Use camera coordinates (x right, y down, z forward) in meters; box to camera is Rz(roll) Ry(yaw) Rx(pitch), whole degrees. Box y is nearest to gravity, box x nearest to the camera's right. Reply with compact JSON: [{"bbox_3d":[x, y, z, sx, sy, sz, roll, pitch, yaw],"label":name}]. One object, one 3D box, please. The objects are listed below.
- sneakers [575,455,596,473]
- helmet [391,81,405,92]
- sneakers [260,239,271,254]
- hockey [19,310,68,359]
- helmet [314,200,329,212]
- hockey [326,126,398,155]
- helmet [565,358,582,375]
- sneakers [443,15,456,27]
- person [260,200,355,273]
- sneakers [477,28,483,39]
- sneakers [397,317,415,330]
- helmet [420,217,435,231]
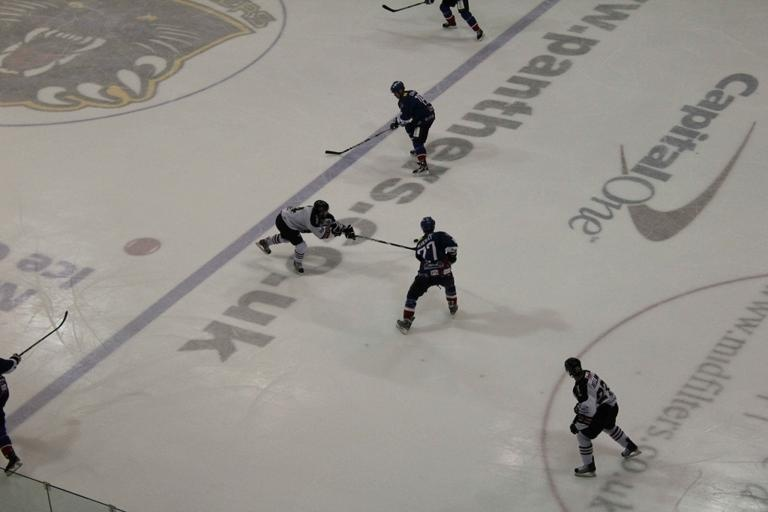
[{"bbox_3d":[2.425,2.588,10.600,0.326,0.280,0.133,1,34,12],"label":"sneakers"},{"bbox_3d":[0.241,-2.819,14.477,0.198,0.184,0.275,21,17,-7],"label":"helmet"},{"bbox_3d":[-1.842,-0.158,13.469,0.201,0.068,0.132,36,-26,-3],"label":"sneakers"},{"bbox_3d":[-4.954,1.168,12.595,0.825,0.077,0.206,-36,45,-26],"label":"hockey"},{"bbox_3d":[-0.910,-0.753,12.733,0.214,0.147,0.288,20,17,-8],"label":"helmet"},{"bbox_3d":[-0.373,-2.025,15.310,1.292,0.209,0.095,-21,-12,-13],"label":"hockey"},{"bbox_3d":[2.262,1.323,10.303,0.197,0.142,0.130,14,20,-26],"label":"helmet"},{"bbox_3d":[1.343,-4.726,17.555,0.321,0.135,0.299,11,-20,15],"label":"sneakers"},{"bbox_3d":[-1.184,-0.308,13.113,1.581,1.117,0.518,10,22,16],"label":"person"},{"bbox_3d":[1.900,-4.382,17.115,0.089,0.220,0.097,-1,9,4],"label":"sneakers"},{"bbox_3d":[0.296,0.966,12.204,0.268,0.173,0.104,30,42,26],"label":"sneakers"},{"bbox_3d":[0.614,-0.440,12.197,0.184,0.179,0.207,2,28,9],"label":"helmet"}]
